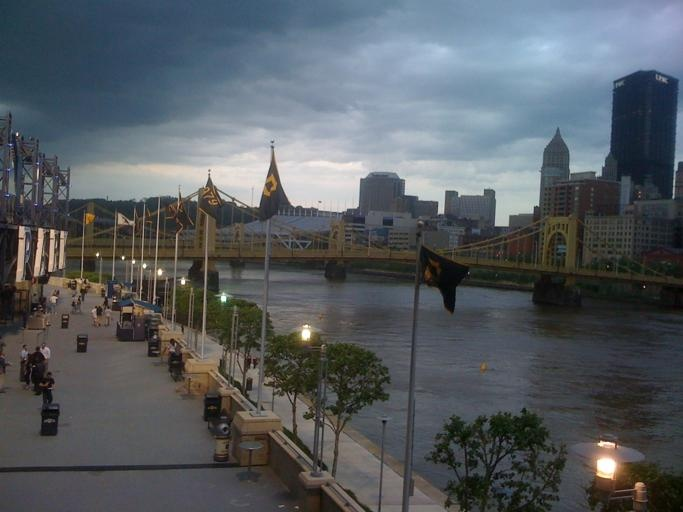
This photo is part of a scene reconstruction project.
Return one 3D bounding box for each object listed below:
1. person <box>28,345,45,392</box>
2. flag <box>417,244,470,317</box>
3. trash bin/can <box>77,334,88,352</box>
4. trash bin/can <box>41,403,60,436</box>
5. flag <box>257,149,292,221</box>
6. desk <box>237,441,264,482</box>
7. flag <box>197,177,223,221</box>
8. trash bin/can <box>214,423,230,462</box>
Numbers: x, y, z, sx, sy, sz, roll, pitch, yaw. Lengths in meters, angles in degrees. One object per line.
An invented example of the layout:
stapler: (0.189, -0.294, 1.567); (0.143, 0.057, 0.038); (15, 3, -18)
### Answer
person: (-13.687, 5.085, 29.688); (0.683, 2.035, 0.681); (0, 9, -25)
flag: (2.815, 0.647, 18.393); (1.240, 1.817, 0.861); (1, 2, 7)
trash bin/can: (-15.669, 5.260, 39.810); (0.785, 1.390, 0.783); (1, -8, -14)
trash bin/can: (-10.581, 5.925, 23.904); (0.767, 1.437, 0.814); (3, -11, -16)
flag: (-2.584, -2.798, 24.547); (1.127, 3.152, 0.301); (-8, 38, -13)
desk: (-2.875, 6.482, 21.086); (0.944, 1.118, 1.009); (-1, -4, 26)
flag: (-7.753, -3.668, 39.266); (1.322, 3.198, 0.379); (7, -34, -16)
trash bin/can: (-4.032, 6.215, 22.172); (0.516, 1.392, 0.590); (0, 2, -11)
